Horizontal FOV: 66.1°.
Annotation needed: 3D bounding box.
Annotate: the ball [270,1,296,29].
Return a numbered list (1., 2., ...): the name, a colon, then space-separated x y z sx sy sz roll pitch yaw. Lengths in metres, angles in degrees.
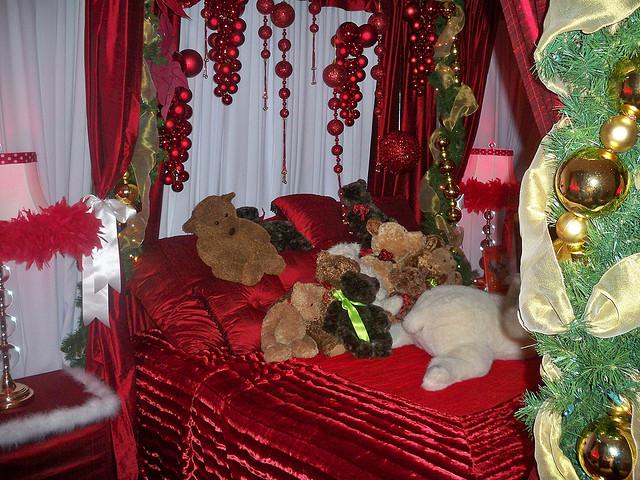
1. ball: -0.193 -1.252 2.772 0.135 0.178 0.147 0 31 0

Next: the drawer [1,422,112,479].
1. drawer: -1.045 0.810 1.906 0.271 0.069 0.257 -5 6 -35

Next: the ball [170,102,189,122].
1. ball: -0.670 -0.614 2.357 0.069 0.072 0.085 -5 49 1

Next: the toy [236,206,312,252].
1. toy: -0.278 -0.044 2.568 0.411 0.266 0.164 11 51 -1

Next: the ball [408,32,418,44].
1. ball: 0.612 -1.334 3.256 0.037 0.070 0.104 -6 14 -17

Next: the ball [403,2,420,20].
1. ball: 0.584 -1.457 3.135 0.081 0.100 0.084 0 13 0

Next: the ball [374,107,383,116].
1. ball: 0.410 -0.904 3.449 0.047 0.049 0.056 -20 4 -13

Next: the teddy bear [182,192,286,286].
1. teddy bear: -0.416 -0.007 2.365 0.326 0.432 0.375 -37 22 -31

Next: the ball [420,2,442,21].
1. ball: 0.728 -1.471 3.151 0.177 0.117 0.099 -11 16 -32

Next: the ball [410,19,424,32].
1. ball: 0.627 -1.390 3.183 0.068 0.072 0.042 7 16 2

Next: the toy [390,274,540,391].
1. toy: 0.612 0.364 2.028 0.524 0.219 0.403 -4 9 -16

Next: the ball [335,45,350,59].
1. ball: 0.134 -1.117 2.968 0.065 0.079 0.066 3 -32 2

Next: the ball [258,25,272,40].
1. ball: -0.331 -1.238 2.934 0.084 0.077 0.117 -3 14 -6

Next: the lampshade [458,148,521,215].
1. lampshade: 1.296 -0.448 3.740 0.466 0.479 0.360 1 14 10

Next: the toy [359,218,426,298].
1. toy: 0.404 0.030 2.472 0.462 0.198 0.360 1 45 18

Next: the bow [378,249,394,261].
1. bow: 0.326 0.077 2.437 0.057 0.057 0.022 -48 -2 -19

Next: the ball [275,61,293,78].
1. ball: -0.223 -1.029 2.956 0.110 0.115 0.061 -19 21 -5

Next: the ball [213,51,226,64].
1. ball: -0.537 -0.977 2.628 0.044 0.045 0.050 -41 21 -5

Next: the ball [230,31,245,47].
1. ball: -0.446 -1.071 2.623 0.031 0.081 0.123 3 15 20

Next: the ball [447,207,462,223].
1. ball: 0.939 -0.181 3.439 0.090 0.126 0.089 -4 11 1

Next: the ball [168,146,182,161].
1. ball: -0.708 -0.424 2.383 0.054 0.061 0.057 -2 31 1

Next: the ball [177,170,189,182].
1. ball: -0.695 -0.330 2.508 0.041 0.062 0.073 6 16 30

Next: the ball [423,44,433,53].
1. ball: 0.710 -1.265 3.251 0.062 0.050 0.022 -1 14 2

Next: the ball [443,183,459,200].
1. ball: 0.922 -0.338 3.446 0.101 0.124 0.103 1 6 0

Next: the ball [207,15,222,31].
1. ball: -0.558 -1.129 2.557 0.046 0.066 0.116 -14 18 -40

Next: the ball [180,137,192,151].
1. ball: -0.683 -0.490 2.500 0.046 0.066 0.176 -4 14 -9

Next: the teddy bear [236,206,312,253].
1. teddy bear: -0.233 -0.045 2.524 0.334 0.137 0.218 30 26 8

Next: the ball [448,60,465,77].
1. ball: 0.941 -1.170 3.357 0.114 0.112 0.059 -9 15 -26

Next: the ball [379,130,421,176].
1. ball: 0.606 -0.600 3.459 0.294 0.308 0.295 8 5 -1

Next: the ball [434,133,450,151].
1. ball: 0.844 -0.678 3.426 0.093 0.114 0.097 3 3 0

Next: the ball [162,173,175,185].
1. ball: -0.754 -0.304 2.467 0.050 0.052 0.069 -2 2 0

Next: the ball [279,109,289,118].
1. ball: -0.228 -0.795 3.090 0.060 0.049 0.107 -3 14 -4

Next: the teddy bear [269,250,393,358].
1. teddy bear: 0.103 0.210 2.494 0.405 0.645 0.581 3 3 40

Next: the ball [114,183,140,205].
1. ball: -0.851 -0.203 2.161 0.086 0.109 0.091 2 6 0

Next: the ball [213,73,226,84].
1. ball: -0.562 -0.889 2.711 0.094 0.051 0.044 7 17 34

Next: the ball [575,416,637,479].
1. ball: 0.577 0.408 1.028 0.111 0.141 0.116 3 -2 0

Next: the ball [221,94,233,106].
1. ball: -0.522 -0.785 2.777 0.055 0.057 0.030 13 1 -23

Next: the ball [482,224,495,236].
1. ball: 1.307 -0.086 3.791 0.113 0.119 0.043 7 -17 7

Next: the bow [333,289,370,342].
1. bow: 0.136 0.319 2.112 0.107 0.224 0.041 -30 -4 1

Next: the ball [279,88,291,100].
1. ball: -0.222 -0.903 3.036 0.063 0.066 0.072 -3 14 -5
